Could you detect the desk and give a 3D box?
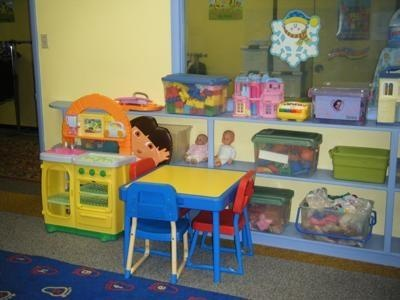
[{"bbox_3d":[-0.105,0.458,2.423,0.701,0.603,0.818,3,7,10],"label":"desk"}]

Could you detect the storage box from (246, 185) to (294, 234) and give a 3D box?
[{"bbox_3d":[0.539,0.442,2.690,0.331,0.257,0.284,3,7,17],"label":"storage box"}]

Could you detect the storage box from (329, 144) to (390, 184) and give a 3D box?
[{"bbox_3d":[1.107,0.080,2.427,0.334,0.168,0.243,4,7,25],"label":"storage box"}]

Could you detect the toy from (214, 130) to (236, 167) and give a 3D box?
[{"bbox_3d":[0.185,-0.019,2.739,0.170,0.266,0.220,14,17,35],"label":"toy"}]

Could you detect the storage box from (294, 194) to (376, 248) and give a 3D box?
[{"bbox_3d":[0.971,0.488,2.501,0.466,0.234,0.319,5,7,26],"label":"storage box"}]

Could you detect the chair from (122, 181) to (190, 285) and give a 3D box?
[{"bbox_3d":[-0.278,0.467,2.221,0.402,0.656,0.306,4,18,10],"label":"chair"}]

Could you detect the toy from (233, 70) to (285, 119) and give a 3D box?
[{"bbox_3d":[0.423,-0.409,2.613,0.343,0.327,0.192,7,15,21],"label":"toy"}]

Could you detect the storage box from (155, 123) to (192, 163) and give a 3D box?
[{"bbox_3d":[-0.182,-0.066,2.864,0.280,0.280,0.286,2,6,15],"label":"storage box"}]

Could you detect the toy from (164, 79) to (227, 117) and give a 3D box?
[{"bbox_3d":[-0.047,-0.365,2.693,0.342,0.217,0.350,3,12,16],"label":"toy"}]

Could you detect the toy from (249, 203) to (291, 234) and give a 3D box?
[{"bbox_3d":[0.507,0.502,2.584,0.263,0.179,0.192,2,5,18],"label":"toy"}]

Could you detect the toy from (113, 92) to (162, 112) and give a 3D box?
[{"bbox_3d":[-0.484,-0.377,2.848,0.291,0.106,0.206,3,12,10],"label":"toy"}]
